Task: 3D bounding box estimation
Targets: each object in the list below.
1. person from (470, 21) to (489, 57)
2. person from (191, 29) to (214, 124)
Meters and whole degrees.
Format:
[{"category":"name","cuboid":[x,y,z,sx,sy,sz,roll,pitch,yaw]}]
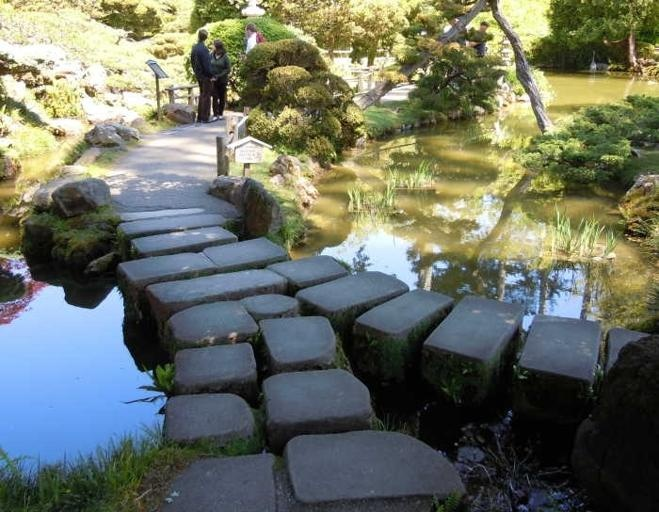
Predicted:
[{"category":"person","cuboid":[5.075,-7.304,17.647,0.455,1.184,1.631,5,17,15]},{"category":"person","cuboid":[-3.057,-4.212,12.613,0.427,1.714,1.144,-4,17,-12]}]
